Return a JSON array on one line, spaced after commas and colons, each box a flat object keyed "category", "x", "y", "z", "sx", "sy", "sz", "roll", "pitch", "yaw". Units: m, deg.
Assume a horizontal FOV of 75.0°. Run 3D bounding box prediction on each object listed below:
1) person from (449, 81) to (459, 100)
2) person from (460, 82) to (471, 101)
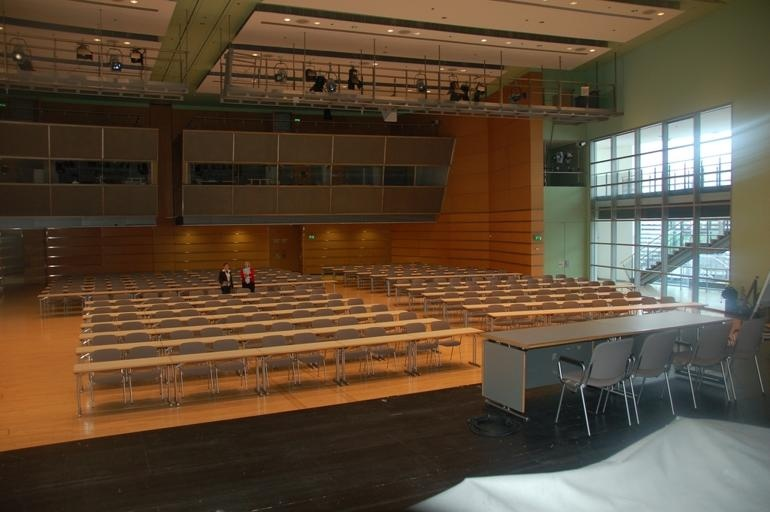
[{"category": "person", "x": 2.268, "y": -5.380, "z": 16.320, "sx": 0.317, "sy": 0.719, "sz": 0.872, "roll": -1, "pitch": 11, "yaw": 8}, {"category": "person", "x": 2.701, "y": -5.556, "z": 16.806, "sx": 0.301, "sy": 0.638, "sz": 1.324, "roll": 0, "pitch": 11, "yaw": 11}]
